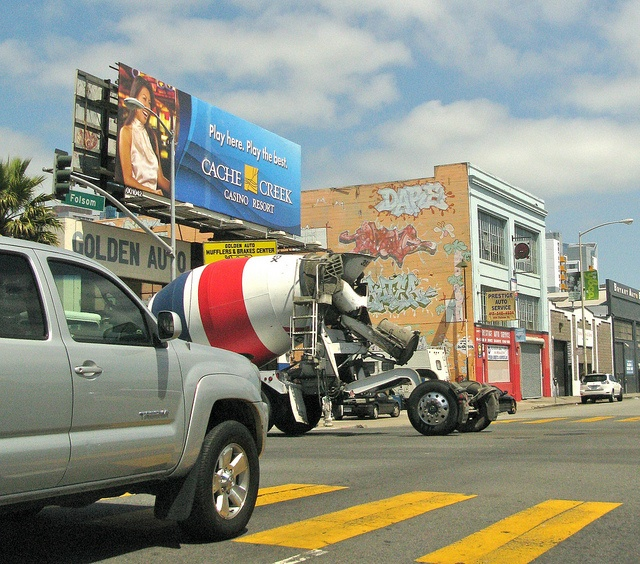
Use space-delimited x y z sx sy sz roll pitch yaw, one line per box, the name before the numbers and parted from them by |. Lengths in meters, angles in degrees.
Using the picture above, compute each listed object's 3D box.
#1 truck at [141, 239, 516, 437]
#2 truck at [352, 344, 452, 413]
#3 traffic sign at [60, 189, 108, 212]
truck | 0.251 1.712 20.123 8.972 4.740 4.214 -3 -6 7
truck | 1.895 3.027 20.957 3.415 2.187 2.256 -4 -4 13
traffic sign | -7.734 -2.762 24.334 0.893 0.748 2.035 1 -6 3
